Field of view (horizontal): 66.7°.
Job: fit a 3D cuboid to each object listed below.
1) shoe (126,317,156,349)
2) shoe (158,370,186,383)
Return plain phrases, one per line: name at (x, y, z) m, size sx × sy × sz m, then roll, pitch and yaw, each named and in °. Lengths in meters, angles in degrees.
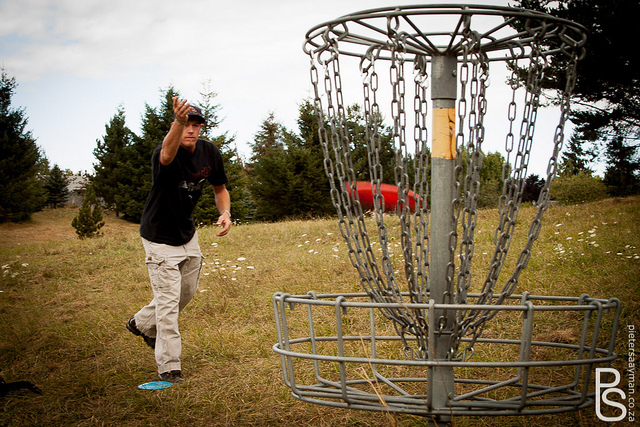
shoe at (-1.658, 1.097, 4.480) m, size 0.158 × 0.290 × 0.308 m, roll -11°, pitch 12°, yaw -43°
shoe at (-1.236, 1.358, 4.037) m, size 0.247 × 0.101 × 0.083 m, roll -1°, pitch 5°, yaw 8°
